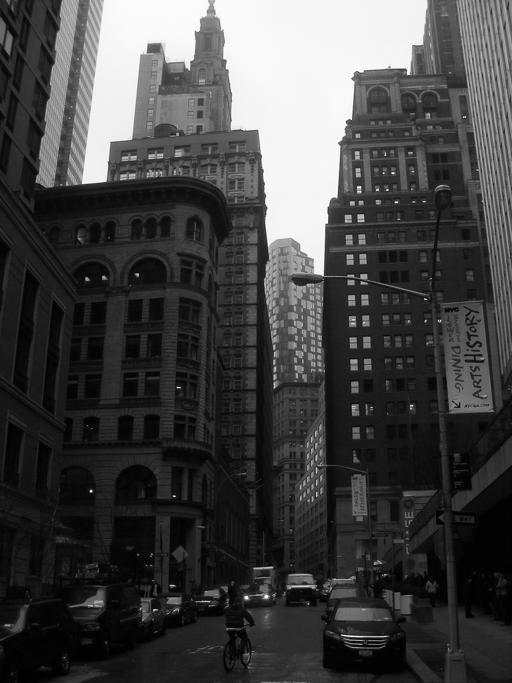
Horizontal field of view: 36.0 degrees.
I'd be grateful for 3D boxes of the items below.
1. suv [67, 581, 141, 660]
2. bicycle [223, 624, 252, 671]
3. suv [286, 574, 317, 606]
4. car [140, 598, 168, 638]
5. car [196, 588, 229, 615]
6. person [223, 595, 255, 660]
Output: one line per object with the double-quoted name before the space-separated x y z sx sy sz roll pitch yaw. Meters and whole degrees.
"suv" -4.106 6.912 20.090 1.315 1.594 3.117 -3 -10 8
"bicycle" -0.522 6.521 16.476 0.542 0.743 1.196 -7 -37 7
"suv" 3.106 17.260 54.324 1.660 1.631 3.076 -1 -37 0
"car" -3.290 8.837 25.125 0.981 0.854 1.732 -3 -34 1
"car" -2.331 13.610 41.080 1.610 1.287 2.416 0 -21 -5
"person" -0.382 6.094 16.808 0.506 1.306 1.266 0 -7 14
